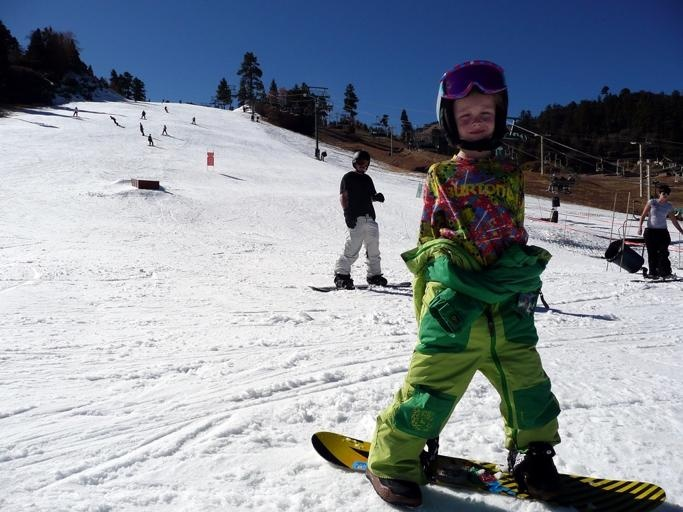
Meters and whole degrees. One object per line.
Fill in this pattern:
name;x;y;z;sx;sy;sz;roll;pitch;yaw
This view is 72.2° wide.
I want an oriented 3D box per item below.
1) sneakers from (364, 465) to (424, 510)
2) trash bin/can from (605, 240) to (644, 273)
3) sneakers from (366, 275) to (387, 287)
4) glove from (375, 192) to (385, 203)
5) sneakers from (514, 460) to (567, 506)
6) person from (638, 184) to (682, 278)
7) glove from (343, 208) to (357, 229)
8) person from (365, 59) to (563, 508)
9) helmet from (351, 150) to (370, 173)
sneakers;0.290;1.206;2.455;0.276;0.089;0.149;0;-8;44
trash bin/can;5.920;0.012;9.277;0.747;0.478;0.588;30;11;-6
sneakers;0.588;0.366;7.097;0.180;0.221;0.270;0;5;22
glove;0.617;-0.883;7.000;0.174;0.077;0.205;12;1;-4
sneakers;1.082;1.158;2.438;0.300;0.178;0.109;0;8;30
person;5.987;-0.436;8.316;0.694;1.654;1.653;8;14;32
glove;0.136;-0.564;6.881;0.139;0.302;0.255;-9;15;-32
person;0.731;0.116;2.519;1.148;2.277;0.826;0;13;2
helmet;0.310;-1.427;6.942;0.318;0.314;0.343;7;26;-16
